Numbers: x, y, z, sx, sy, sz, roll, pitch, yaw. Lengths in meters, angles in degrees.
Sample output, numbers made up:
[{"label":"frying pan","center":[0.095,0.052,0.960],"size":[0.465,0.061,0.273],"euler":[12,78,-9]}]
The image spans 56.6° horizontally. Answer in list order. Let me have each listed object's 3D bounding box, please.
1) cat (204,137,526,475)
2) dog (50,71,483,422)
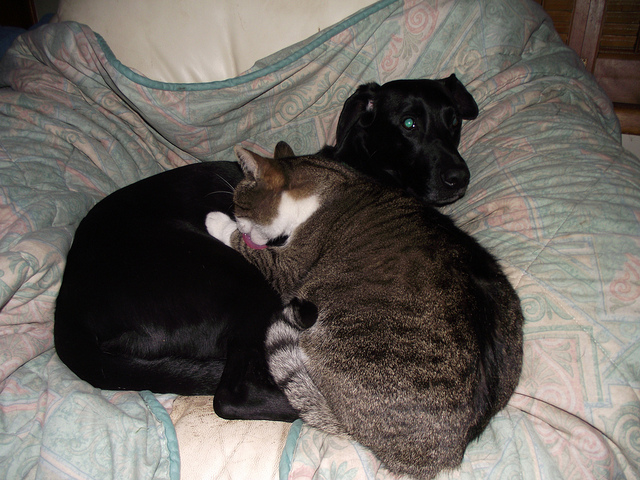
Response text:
[{"label":"cat","center":[0.113,0.417,2.860],"size":[0.992,0.557,1.468],"euler":[-35,62,-22]},{"label":"dog","center":[-0.199,0.160,2.909],"size":[1.779,1.070,1.477],"euler":[-5,27,-1]}]
